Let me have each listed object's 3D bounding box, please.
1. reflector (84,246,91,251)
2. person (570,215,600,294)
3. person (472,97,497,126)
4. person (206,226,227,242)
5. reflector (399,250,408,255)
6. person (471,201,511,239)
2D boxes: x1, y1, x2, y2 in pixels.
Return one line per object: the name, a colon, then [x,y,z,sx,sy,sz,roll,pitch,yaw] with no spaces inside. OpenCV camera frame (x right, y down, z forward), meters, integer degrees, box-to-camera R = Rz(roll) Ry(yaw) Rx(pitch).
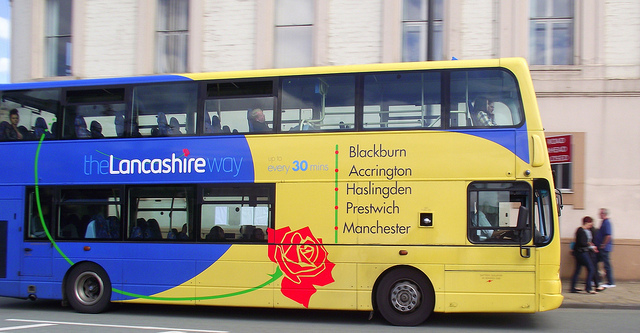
reflector: [-8.091,2.869,27.202,0.190,0.107,0.124,0,-5,-2]
person: [9.876,3.362,29.244,0.973,2.753,1.050,3,14,16]
person: [5.476,-1.822,26.134,0.756,0.905,0.373,-10,-6,34]
person: [-3.492,2.343,26.887,0.865,0.716,0.439,3,-6,-5]
reflector: [2.765,2.881,26.051,0.270,0.149,0.045,1,14,6]
person: [5.486,1.770,25.905,0.930,1.181,0.295,2,14,11]
